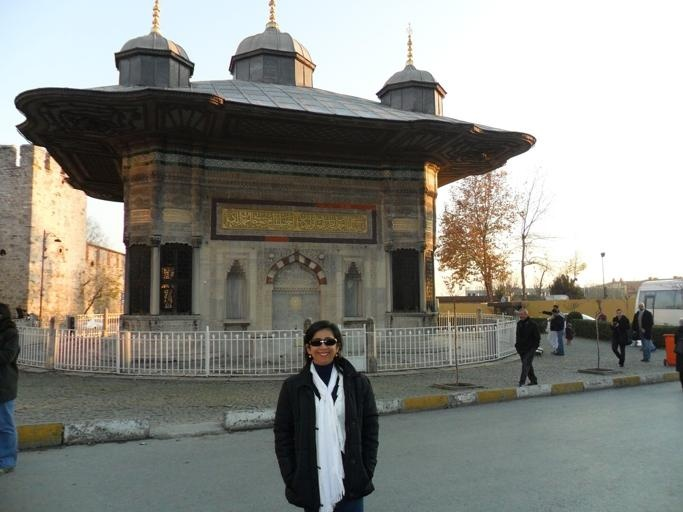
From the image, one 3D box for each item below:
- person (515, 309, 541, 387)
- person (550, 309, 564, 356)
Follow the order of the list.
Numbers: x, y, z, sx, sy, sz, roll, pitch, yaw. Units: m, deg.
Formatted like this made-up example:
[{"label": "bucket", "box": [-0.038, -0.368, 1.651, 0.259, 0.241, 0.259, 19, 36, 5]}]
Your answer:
[{"label": "person", "box": [4.002, 1.940, 15.787, 0.506, 1.608, 1.840, -4, -8, 14]}, {"label": "person", "box": [6.368, 2.188, 21.678, 0.405, 1.488, 1.512, -4, -8, 15]}]
